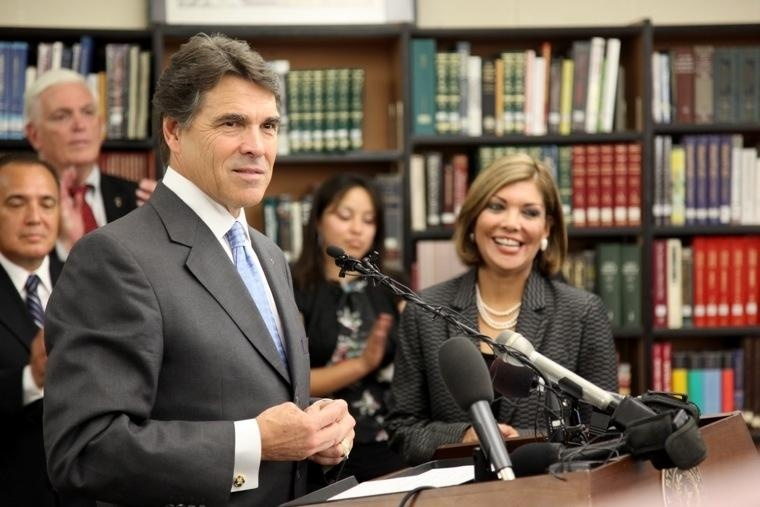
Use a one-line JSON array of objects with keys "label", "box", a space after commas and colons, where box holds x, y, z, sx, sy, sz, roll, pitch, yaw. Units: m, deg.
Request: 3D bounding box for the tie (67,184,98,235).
[{"label": "tie", "box": [-1.381, -0.198, 4.148, 0.070, 0.241, 0.181, -12, -10, 19]}]

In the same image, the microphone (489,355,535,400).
[{"label": "microphone", "box": [0.416, 0.401, 2.891, 0.141, 0.111, 0.120, 13, -7, 7]}]

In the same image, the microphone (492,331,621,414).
[{"label": "microphone", "box": [0.617, 0.434, 3.204, 0.508, 0.151, 0.157, 31, 15, 6]}]

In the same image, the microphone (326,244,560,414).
[{"label": "microphone", "box": [0.251, 0.338, 3.708, 1.315, 0.152, 0.247, 26, -21, 9]}]

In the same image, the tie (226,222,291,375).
[{"label": "tie", "box": [-0.439, 0.108, 3.135, 0.114, 0.059, 0.777, 25, 29, -37]}]

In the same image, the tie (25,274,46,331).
[{"label": "tie", "box": [-1.418, 0.213, 3.682, 0.051, 0.234, 0.034, -16, -25, -3]}]

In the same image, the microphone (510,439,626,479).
[{"label": "microphone", "box": [0.559, 0.611, 2.682, 0.283, 0.098, 0.244, -6, 4, -32]}]

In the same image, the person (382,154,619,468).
[{"label": "person", "box": [0.525, 0.305, 3.784, 0.976, 1.462, 0.882, 2, -10, 15]}]
